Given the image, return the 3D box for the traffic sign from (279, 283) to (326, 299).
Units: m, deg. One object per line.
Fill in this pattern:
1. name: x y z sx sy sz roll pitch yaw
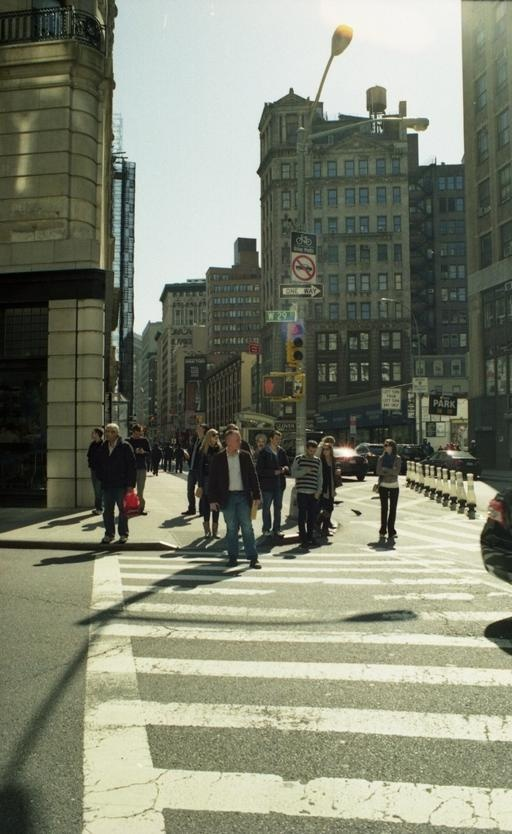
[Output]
1. traffic sign: 0.838 -2.412 18.143 0.882 0.193 0.582 1 0 17

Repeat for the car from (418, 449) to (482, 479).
1. car: 7.045 2.004 35.162 1.386 1.363 3.474 1 2 -11

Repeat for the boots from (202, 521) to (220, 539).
1. boots: -0.663 1.615 13.664 0.163 0.257 0.230 0 5 13

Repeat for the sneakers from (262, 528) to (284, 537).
1. sneakers: 0.235 1.737 14.204 0.125 0.200 0.374 3 -10 -39

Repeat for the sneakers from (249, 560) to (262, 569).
1. sneakers: -0.007 1.653 10.716 0.051 0.124 0.175 3 -16 -19

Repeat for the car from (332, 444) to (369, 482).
1. car: 3.142 1.653 32.699 1.039 1.117 2.895 0 4 0

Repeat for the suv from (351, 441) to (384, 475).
1. suv: 4.696 1.510 38.579 1.326 1.477 3.432 0 3 -1

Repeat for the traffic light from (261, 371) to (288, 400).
1. traffic light: 0.363 -0.603 18.311 0.438 0.355 0.742 1 0 0

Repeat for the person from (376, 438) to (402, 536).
1. person: 1.932 1.061 14.002 0.320 1.458 1.301 1 0 8
